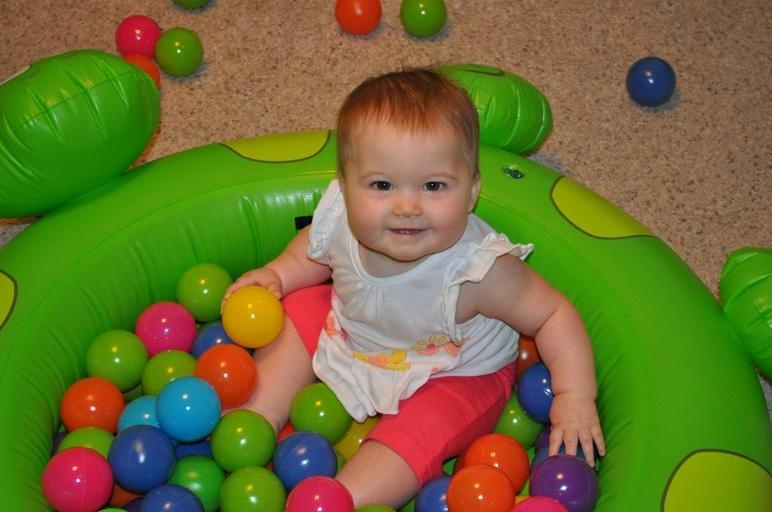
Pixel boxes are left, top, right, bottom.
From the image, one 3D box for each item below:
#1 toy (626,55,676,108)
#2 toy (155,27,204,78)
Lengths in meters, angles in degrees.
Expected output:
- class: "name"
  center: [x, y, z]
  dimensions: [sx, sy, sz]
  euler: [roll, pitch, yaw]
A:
- class: "toy"
  center: [0.973, -0.625, 2.661]
  dimensions: [0.191, 0.121, 0.121]
  euler: [14, -5, 9]
- class: "toy"
  center: [-0.751, -0.721, 2.674]
  dimensions: [0.153, 0.214, 0.159]
  euler: [8, 12, 40]
